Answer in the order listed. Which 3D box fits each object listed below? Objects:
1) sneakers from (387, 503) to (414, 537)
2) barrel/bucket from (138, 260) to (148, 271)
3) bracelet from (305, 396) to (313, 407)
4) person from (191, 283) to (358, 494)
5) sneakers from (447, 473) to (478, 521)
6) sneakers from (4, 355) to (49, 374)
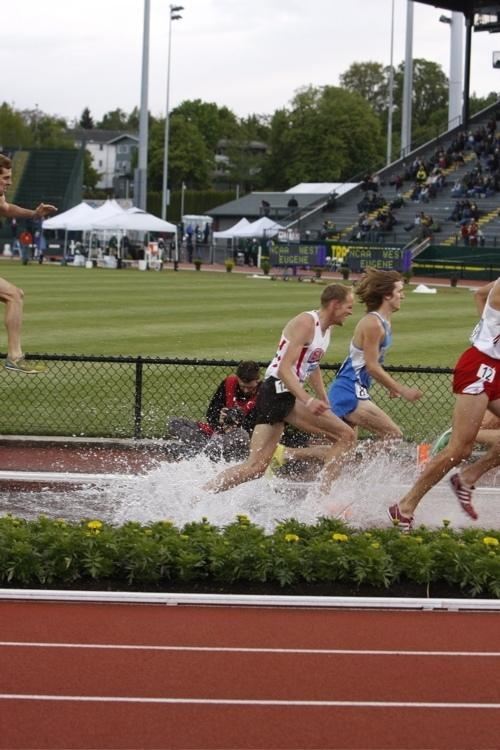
[{"bbox_3d":[0.926,0.898,6.034,0.113,0.076,0.235,-11,13,5],"label":"sneakers"},{"bbox_3d":[-4.779,-4.885,43.808,0.261,0.395,0.637,-3,8,-29],"label":"barrel/bucket"},{"bbox_3d":[0.363,0.168,6.001,0.044,0.013,0.045,-55,4,-39],"label":"bracelet"},{"bbox_3d":[0.284,0.095,6.490,0.749,1.380,0.869,5,8,26],"label":"person"},{"bbox_3d":[1.420,0.831,6.613,0.155,0.315,0.106,-28,7,15],"label":"sneakers"},{"bbox_3d":[-2.023,-0.090,8.974,0.388,0.145,0.138,6,7,-1],"label":"sneakers"}]
